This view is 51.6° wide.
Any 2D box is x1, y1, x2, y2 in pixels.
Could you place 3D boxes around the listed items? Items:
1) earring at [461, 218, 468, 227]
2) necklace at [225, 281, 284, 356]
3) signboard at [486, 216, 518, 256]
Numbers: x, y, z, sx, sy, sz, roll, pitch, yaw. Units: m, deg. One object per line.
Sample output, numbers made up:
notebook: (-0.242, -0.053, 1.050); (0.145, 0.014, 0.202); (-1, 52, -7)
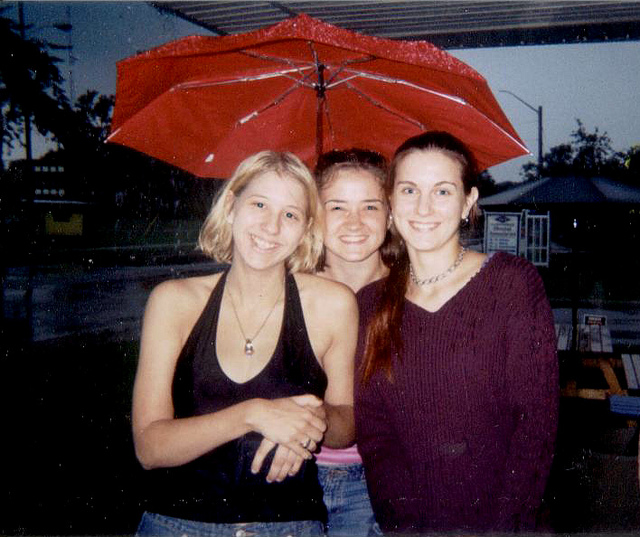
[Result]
earring: (1.067, -0.334, 4.911); (0.049, 0.073, 0.137); (2, 8, 13)
necklace: (-0.489, 0.379, 4.787); (0.401, 0.617, 0.065); (5, -25, -5)
signboard: (3.745, -0.715, 13.643); (0.605, 1.097, 0.630); (0, 8, 13)
